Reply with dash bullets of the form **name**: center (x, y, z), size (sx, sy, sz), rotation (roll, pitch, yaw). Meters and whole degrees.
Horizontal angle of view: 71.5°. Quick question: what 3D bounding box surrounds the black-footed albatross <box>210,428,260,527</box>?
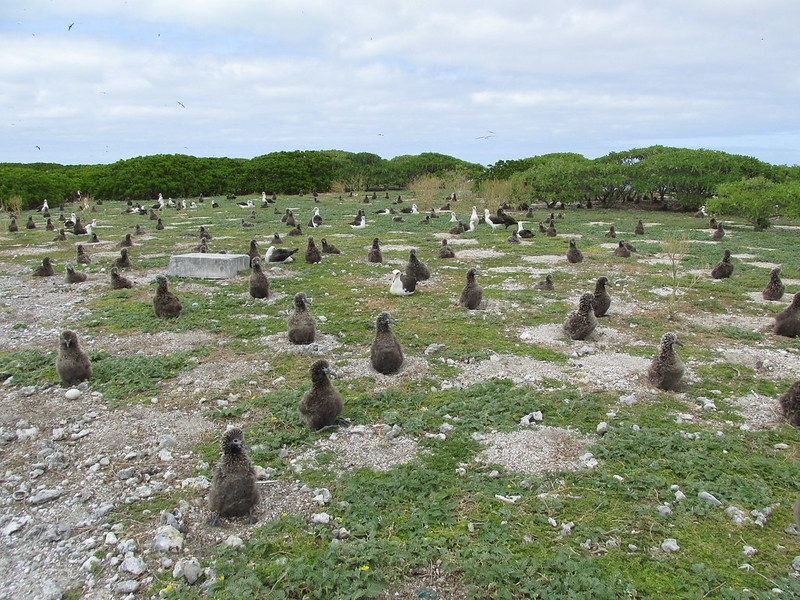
- **black-footed albatross**: center (-2.216, 2.304, 7.255), size (0.668, 1.157, 0.552), rotation (-4, 13, -10)

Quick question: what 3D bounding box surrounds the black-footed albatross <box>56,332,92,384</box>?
- **black-footed albatross**: center (-5.993, 1.042, 10.144), size (0.535, 1.026, 0.401), rotation (-9, 15, -32)

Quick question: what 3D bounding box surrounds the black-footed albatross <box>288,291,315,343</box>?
- **black-footed albatross**: center (-2.104, 0.384, 11.643), size (0.570, 1.047, 0.452), rotation (-2, 13, -4)

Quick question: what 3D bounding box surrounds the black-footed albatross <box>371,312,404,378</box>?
- **black-footed albatross**: center (-0.259, 0.816, 10.416), size (0.633, 1.094, 0.588), rotation (-2, 12, -2)

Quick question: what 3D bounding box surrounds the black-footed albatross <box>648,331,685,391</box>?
- **black-footed albatross**: center (4.597, 1.053, 9.565), size (0.538, 0.949, 0.470), rotation (4, 14, 23)

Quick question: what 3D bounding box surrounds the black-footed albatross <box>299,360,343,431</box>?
- **black-footed albatross**: center (-1.246, 1.481, 8.664), size (0.685, 1.104, 0.389), rotation (-4, 13, -11)
